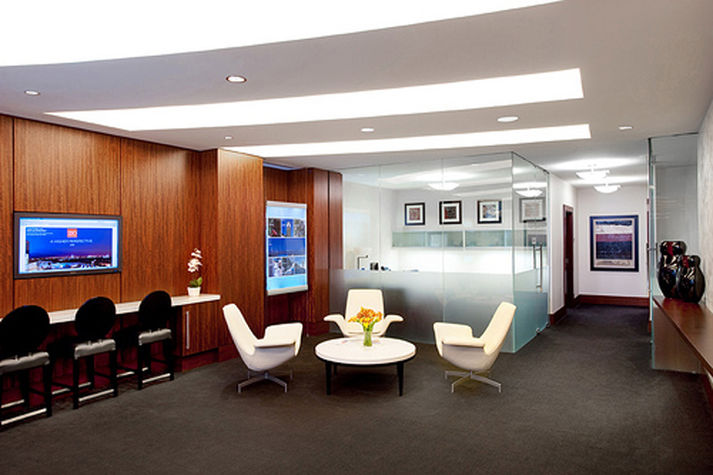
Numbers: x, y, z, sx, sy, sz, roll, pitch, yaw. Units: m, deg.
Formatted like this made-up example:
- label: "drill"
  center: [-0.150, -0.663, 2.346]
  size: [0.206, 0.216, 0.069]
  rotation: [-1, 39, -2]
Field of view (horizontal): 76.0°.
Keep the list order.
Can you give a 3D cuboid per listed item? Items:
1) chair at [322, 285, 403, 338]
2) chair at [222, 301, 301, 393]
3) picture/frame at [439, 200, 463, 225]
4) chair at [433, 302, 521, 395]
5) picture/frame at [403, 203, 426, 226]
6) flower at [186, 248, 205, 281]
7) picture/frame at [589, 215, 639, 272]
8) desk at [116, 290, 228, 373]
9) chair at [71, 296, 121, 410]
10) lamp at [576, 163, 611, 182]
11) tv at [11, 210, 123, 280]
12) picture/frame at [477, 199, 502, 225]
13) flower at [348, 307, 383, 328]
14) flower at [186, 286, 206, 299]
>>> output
- label: "chair"
  center: [0.127, 1.463, 7.631]
  size: [1.250, 1.202, 0.882]
  rotation: [0, -3, -5]
- label: "chair"
  center: [-1.314, 1.494, 6.516]
  size: [1.072, 1.065, 1.060]
  rotation: [1, 2, 4]
- label: "picture/frame"
  center: [1.704, -0.448, 8.134]
  size: [0.428, 0.434, 0.029]
  rotation: [2, 2, 33]
- label: "chair"
  center: [1.585, 1.503, 6.520]
  size: [1.212, 1.153, 1.089]
  rotation: [0, 1, -23]
- label: "picture/frame"
  center: [1.100, -0.439, 8.464]
  size: [0.422, 0.427, 0.033]
  rotation: [0, -5, 31]
- label: "flower"
  center: [-2.650, 0.461, 7.430]
  size: [0.256, 0.491, 0.243]
  rotation: [1, 3, 14]
- label: "picture/frame"
  center: [6.934, 0.133, 12.202]
  size: [1.499, 2.055, 0.145]
  rotation: [-1, 0, 32]
- label: "desk"
  center: [-2.992, 1.537, 7.663]
  size: [0.631, 0.975, 1.860]
  rotation: [4, -14, -43]
- label: "chair"
  center: [-3.490, 1.423, 6.072]
  size: [0.562, 1.369, 0.794]
  rotation: [-4, 7, -31]
- label: "lamp"
  center: [5.042, -1.367, 9.642]
  size: [0.489, 0.304, 0.487]
  rotation: [-1, 1, -24]
- label: "tv"
  center: [-3.961, 0.099, 6.161]
  size: [0.049, 0.676, 1.005]
  rotation: [-3, -2, 43]
- label: "picture/frame"
  center: [2.295, -0.446, 7.818]
  size: [0.428, 0.437, 0.033]
  rotation: [-1, -1, 35]
- label: "flower"
  center: [0.161, 1.128, 6.538]
  size: [0.428, 0.251, 0.433]
  rotation: [-1, -11, 15]
- label: "flower"
  center: [-2.576, 0.864, 7.253]
  size: [0.177, 0.133, 0.178]
  rotation: [2, 0, -6]
